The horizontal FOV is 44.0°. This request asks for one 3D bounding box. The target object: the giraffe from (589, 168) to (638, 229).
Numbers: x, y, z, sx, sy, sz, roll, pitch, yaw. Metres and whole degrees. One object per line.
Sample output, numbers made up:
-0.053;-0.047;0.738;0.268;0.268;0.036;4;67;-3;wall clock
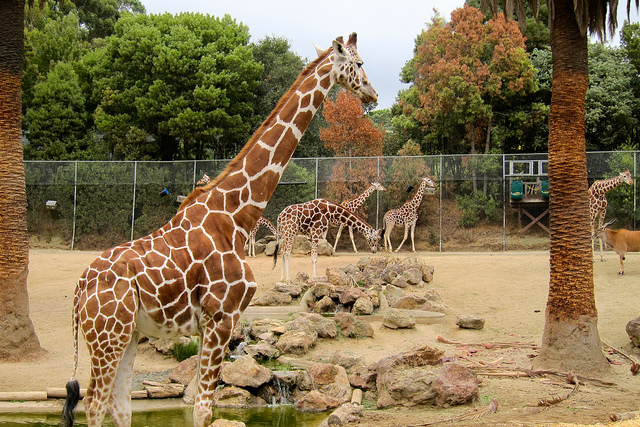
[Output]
13.042;-0.827;35.495;1.850;2.745;3.564;-3;-4;21;giraffe
